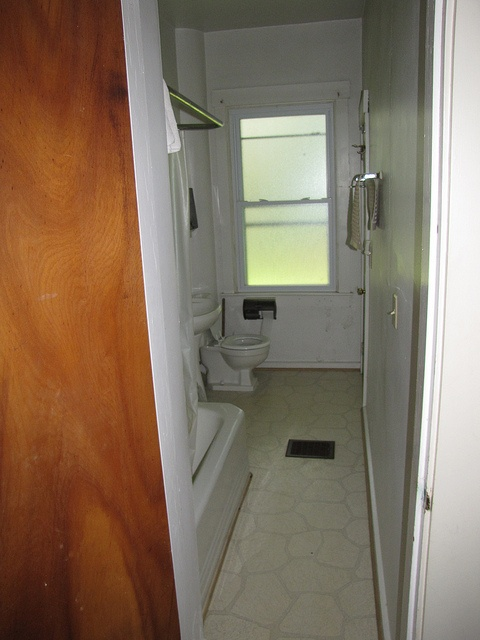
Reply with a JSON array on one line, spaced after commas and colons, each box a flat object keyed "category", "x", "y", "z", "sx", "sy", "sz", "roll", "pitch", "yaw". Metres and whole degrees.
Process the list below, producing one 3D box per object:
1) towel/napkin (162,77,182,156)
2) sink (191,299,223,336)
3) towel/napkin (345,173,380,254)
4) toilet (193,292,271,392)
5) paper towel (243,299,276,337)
[{"category": "towel/napkin", "x": -0.162, "y": -0.467, "z": 1.150, "sx": 0.035, "sy": 0.188, "sz": 0.118, "roll": -2, "pitch": 7, "yaw": -7}, {"category": "sink", "x": -0.198, "y": -0.016, "z": 2.843, "sx": 0.150, "sy": 0.120, "sz": 0.232, "roll": -4, "pitch": 9, "yaw": -5}, {"category": "towel/napkin", "x": 0.462, "y": -0.412, "z": 1.837, "sx": 0.113, "sy": 0.308, "sz": 0.071, "roll": 18, "pitch": 35, "yaw": 34}, {"category": "toilet", "x": -0.060, "y": 0.156, "z": 3.560, "sx": 0.444, "sy": 0.779, "sz": 0.367, "roll": 0, "pitch": 15, "yaw": 1}, {"category": "paper towel", "x": 0.160, "y": -0.069, "z": 3.901, "sx": 0.212, "sy": 0.431, "sz": 0.242, "roll": 2, "pitch": 11, "yaw": 5}]
